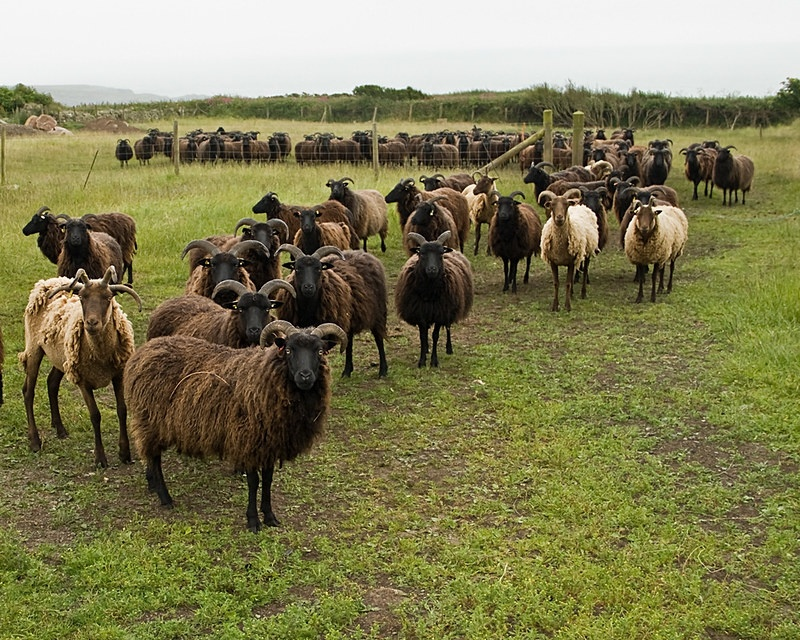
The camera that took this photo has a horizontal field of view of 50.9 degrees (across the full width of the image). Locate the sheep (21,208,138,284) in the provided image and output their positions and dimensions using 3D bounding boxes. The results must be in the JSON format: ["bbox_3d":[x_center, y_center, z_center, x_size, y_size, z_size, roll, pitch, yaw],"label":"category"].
[{"bbox_3d":[-5.610,-1.321,15.084,2.083,1.326,0.682,1,8,-34],"label":"sheep"}]

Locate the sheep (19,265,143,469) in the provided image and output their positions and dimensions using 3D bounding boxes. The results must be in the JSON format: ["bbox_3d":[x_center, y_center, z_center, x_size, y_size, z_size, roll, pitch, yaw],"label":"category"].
[{"bbox_3d":[-3.868,0.472,10.106,1.757,2.307,0.962,6,13,31],"label":"sheep"}]

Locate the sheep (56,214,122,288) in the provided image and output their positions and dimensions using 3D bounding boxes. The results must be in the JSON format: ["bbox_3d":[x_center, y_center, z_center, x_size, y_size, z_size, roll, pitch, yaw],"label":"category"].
[{"bbox_3d":[-5.170,-1.146,13.888,0.756,1.302,2.258,-1,4,-13],"label":"sheep"}]
